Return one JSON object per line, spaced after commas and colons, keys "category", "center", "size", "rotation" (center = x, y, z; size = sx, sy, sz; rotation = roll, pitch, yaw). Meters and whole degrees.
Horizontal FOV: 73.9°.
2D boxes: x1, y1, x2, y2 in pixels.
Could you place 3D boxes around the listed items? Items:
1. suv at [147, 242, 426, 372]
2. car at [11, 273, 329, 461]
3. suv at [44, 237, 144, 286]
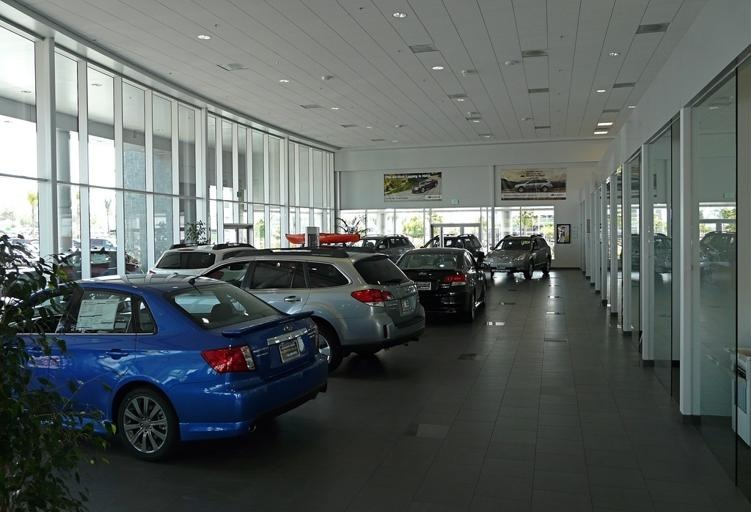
{"category": "suv", "center": [-1.357, 0.684, 8.069], "size": [4.113, 1.321, 1.812], "rotation": [2, 1, 13]}
{"category": "car", "center": [-2.253, 1.038, 5.246], "size": [3.297, 1.036, 1.465], "rotation": [4, 5, 24]}
{"category": "suv", "center": [-6.376, 0.050, 11.335], "size": [2.034, 0.896, 1.217], "rotation": [2, -1, -23]}
